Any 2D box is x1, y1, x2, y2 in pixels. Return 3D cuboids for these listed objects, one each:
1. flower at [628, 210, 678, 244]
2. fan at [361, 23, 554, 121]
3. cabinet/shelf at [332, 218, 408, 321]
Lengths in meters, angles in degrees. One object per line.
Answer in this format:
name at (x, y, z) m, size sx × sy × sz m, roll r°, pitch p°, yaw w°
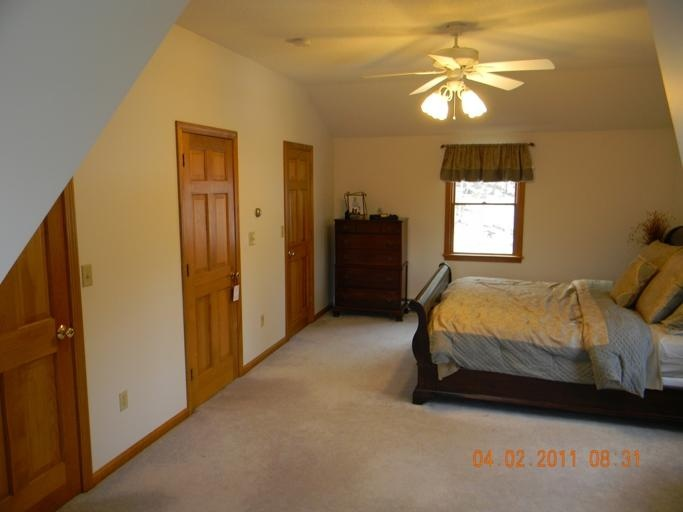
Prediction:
flower at (3.685, -0.355, 5.799) m, size 0.343 × 0.161 × 0.289 m, roll -33°, pitch 17°, yaw 44°
fan at (0.824, -1.385, 3.545) m, size 0.986 × 0.540 × 0.928 m, roll 0°, pitch 16°, yaw 10°
cabinet/shelf at (0.373, 0.189, 6.543) m, size 0.862 × 1.262 × 0.673 m, roll 2°, pitch -2°, yaw 5°
